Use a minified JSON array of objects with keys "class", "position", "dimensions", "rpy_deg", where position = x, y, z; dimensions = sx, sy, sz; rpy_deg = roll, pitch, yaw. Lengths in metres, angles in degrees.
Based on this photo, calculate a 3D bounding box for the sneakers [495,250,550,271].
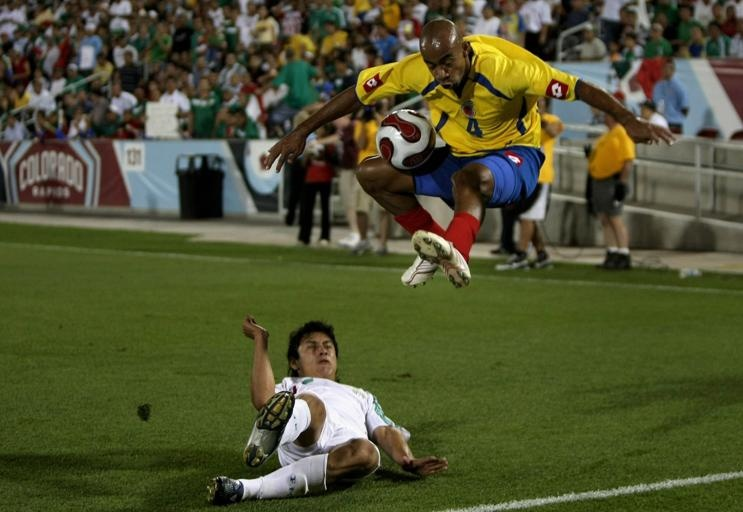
[{"class":"sneakers","position":[0.903,0.035,7.245],"dimensions":[0.237,0.094,0.081],"rpy_deg":[-1,-1,38]}]

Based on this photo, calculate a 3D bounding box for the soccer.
[{"class":"soccer","position":[0.153,-0.583,6.428],"dimensions":[0.316,0.308,0.269],"rpy_deg":[4,-23,-10]}]

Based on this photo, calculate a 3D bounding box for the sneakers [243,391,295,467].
[{"class":"sneakers","position":[-0.451,0.756,5.428],"dimensions":[0.142,0.385,0.177],"rpy_deg":[30,8,-3]}]

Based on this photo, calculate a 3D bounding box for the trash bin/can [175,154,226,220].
[{"class":"trash bin/can","position":[-0.862,-0.343,6.134],"dimensions":[0.308,0.444,0.291],"rpy_deg":[-2,5,-17]}]

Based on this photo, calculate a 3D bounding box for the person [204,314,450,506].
[{"class":"person","position":[-0.286,0.795,6.026],"dimensions":[0.729,0.692,1.021],"rpy_deg":[4,-17,-12]}]

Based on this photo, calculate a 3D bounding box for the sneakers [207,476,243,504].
[{"class":"sneakers","position":[-0.661,1.032,5.466],"dimensions":[0.106,0.078,0.146],"rpy_deg":[0,-4,28]}]
